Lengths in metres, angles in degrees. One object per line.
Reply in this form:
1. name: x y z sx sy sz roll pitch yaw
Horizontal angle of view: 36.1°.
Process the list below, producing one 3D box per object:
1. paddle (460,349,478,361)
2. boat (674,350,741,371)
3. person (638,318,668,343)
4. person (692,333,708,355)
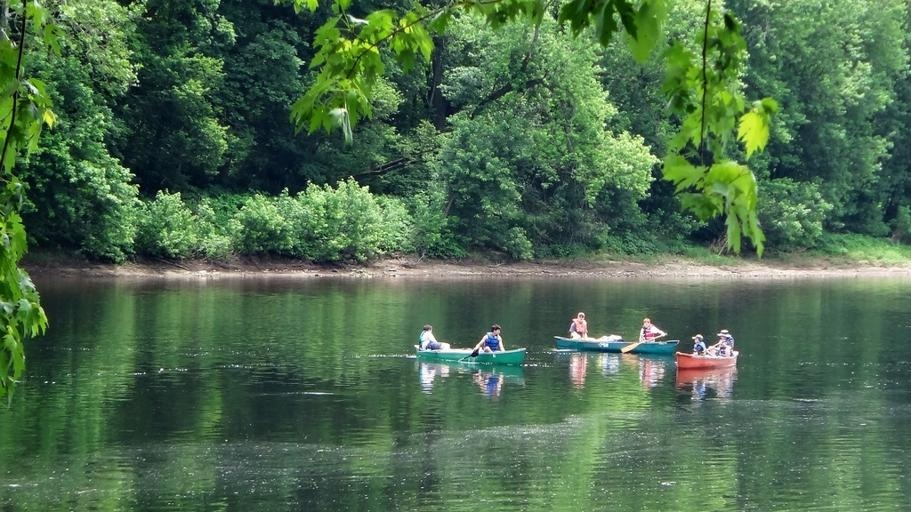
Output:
1. paddle: 0.751 5.593 80.679 0.885 0.260 0.205 -36 15 9
2. boat: 14.294 5.828 80.280 4.082 0.864 1.211 4 -7 -13
3. person: 12.038 4.481 85.481 1.381 1.342 0.438 -4 -16 -1
4. person: 14.255 5.070 81.725 0.966 0.871 0.636 -12 15 -43
